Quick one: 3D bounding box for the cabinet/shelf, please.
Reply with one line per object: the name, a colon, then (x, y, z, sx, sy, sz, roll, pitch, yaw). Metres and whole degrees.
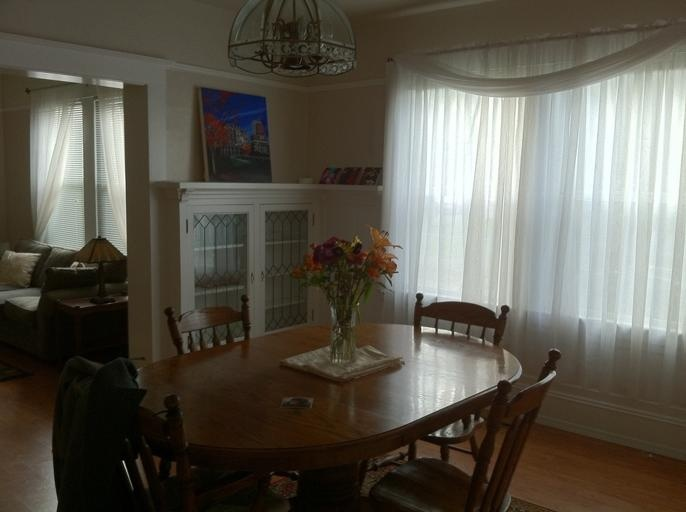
cabinet/shelf: (-0.727, 0.140, 4.831, 1.487, 1.526, 0.391, 0, 9, 17)

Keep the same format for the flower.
flower: (-0.002, 0.073, 2.740, 0.427, 0.409, 0.427, 8, -7, -43)

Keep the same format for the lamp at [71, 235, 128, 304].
lamp: (-2.267, 0.138, 5.200, 0.561, 0.739, 0.583, 5, 6, 40)

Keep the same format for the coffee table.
coffee table: (-2.278, 0.639, 5.143, 0.289, 0.425, 0.572, 5, 8, 44)
